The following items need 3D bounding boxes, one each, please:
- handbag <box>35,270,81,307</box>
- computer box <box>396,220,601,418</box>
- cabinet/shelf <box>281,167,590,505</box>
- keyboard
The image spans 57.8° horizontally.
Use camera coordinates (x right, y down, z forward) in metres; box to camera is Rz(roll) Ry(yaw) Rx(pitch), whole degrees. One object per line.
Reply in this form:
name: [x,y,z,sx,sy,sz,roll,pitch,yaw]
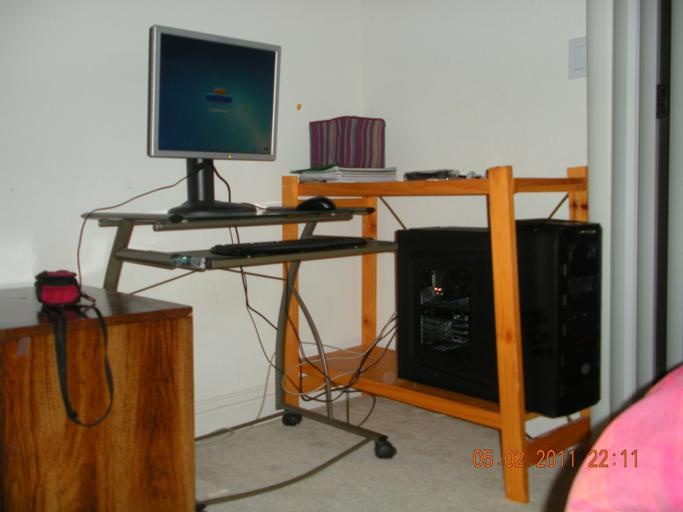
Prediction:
handbag: [-0.775,0.074,1.684,0.123,0.073,0.174,0,13,-25]
computer box: [0.549,0.195,2.288,0.387,0.630,0.694,-4,2,-37]
cabinet/shelf: [0.342,0.302,2.211,0.437,0.986,1.036,-9,12,-44]
keyboard: [-0.133,-0.035,1.918,0.179,0.044,0.558,8,13,44]
